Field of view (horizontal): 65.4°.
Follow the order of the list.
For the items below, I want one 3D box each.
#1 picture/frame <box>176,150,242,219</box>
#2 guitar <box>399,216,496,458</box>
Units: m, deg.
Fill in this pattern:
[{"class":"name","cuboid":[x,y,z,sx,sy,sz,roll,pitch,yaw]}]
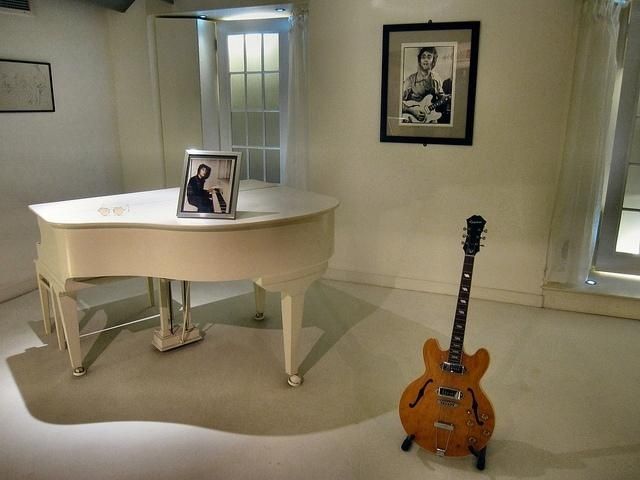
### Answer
[{"class":"picture/frame","cuboid":[-0.680,-0.342,3.088,0.449,0.563,0.041,4,-13,6]},{"class":"guitar","cuboid":[0.775,0.558,2.816,0.513,1.346,0.446,8,17,22]}]
